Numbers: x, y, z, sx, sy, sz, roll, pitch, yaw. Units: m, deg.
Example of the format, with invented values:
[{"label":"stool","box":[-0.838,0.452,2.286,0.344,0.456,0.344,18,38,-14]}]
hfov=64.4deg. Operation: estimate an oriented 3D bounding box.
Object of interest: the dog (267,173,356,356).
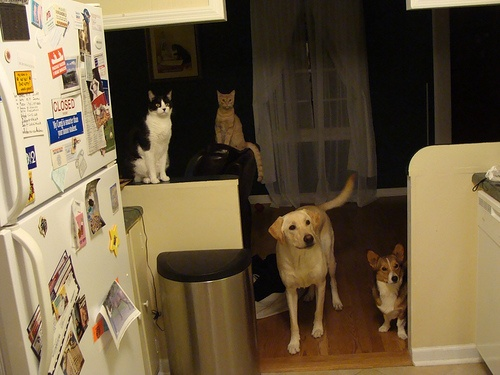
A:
[{"label":"dog","box":[0.480,0.547,3.110,0.446,1.155,0.838,4,15,29]}]

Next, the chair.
[{"label":"chair","box":[-0.194,0.231,3.578,0.583,0.784,0.632,-21,4,-3]}]

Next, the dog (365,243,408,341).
[{"label":"dog","box":[1.034,0.774,3.030,0.296,0.718,0.349,1,13,20]}]
